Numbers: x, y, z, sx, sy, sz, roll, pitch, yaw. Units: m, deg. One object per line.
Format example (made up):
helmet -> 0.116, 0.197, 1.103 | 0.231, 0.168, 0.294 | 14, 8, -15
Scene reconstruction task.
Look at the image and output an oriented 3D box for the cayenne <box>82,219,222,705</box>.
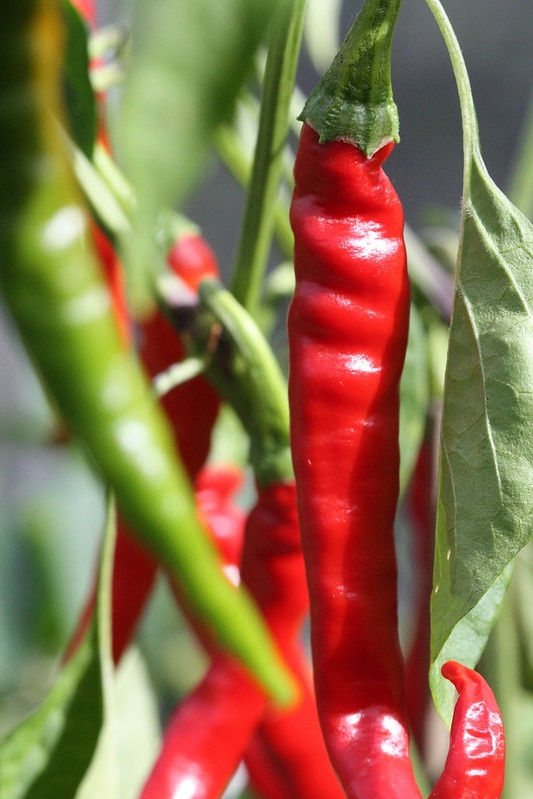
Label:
cayenne -> -0.044, 0.023, 0.361 | 0.029, 0.033, 0.208 | 12, 87, 24
